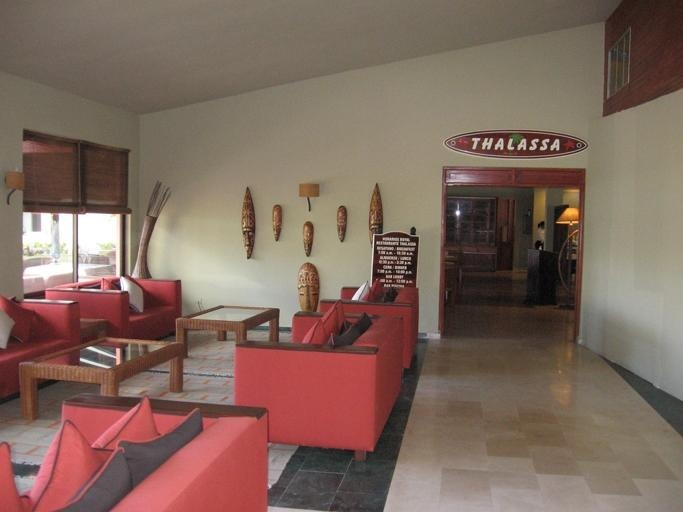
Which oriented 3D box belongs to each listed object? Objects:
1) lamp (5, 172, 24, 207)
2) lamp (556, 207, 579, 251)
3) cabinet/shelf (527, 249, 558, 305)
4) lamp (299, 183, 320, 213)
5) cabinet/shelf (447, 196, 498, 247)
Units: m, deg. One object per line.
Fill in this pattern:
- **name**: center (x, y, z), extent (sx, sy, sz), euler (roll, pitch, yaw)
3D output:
- **lamp**: center (-3.919, -0.806, 6.101), extent (0.191, 0.395, 0.262), euler (-3, 7, -33)
- **lamp**: center (4.848, -0.579, 10.812), extent (0.555, 0.869, 0.587), euler (2, 8, 20)
- **cabinet/shelf**: center (4.426, 0.490, 11.355), extent (0.667, 1.141, 0.409), euler (4, -2, -35)
- **lamp**: center (-0.502, -0.915, 7.930), extent (0.347, 0.546, 0.369), euler (0, 4, 4)
- **cabinet/shelf**: center (4.210, -1.064, 16.828), extent (1.636, 1.647, 0.614), euler (3, -12, 6)
